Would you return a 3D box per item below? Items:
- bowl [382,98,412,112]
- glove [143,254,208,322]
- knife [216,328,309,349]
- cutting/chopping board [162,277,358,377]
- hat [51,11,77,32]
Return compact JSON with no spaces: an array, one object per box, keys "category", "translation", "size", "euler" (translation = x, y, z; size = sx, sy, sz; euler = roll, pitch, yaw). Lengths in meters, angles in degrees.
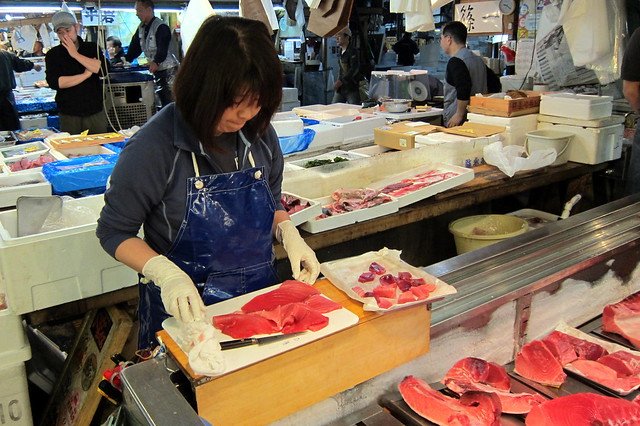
[{"category":"bowl","translation":[1.059,-1.420,5.856],"size":[0.385,0.176,0.282],"euler":[-5,16,-1]},{"category":"glove","translation":[-0.559,0.322,1.712],"size":[0.184,0.097,0.337],"euler":[-28,50,-26]},{"category":"knife","translation":[-0.200,0.449,1.527],"size":[0.447,0.061,0.038],"euler":[1,56,-17]},{"category":"cutting/chopping board","translation":[-0.236,0.395,1.613],"size":[0.676,0.143,0.368],"euler":[-12,18,-25]},{"category":"hat","translation":[-2.954,-2.176,4.976],"size":[0.248,0.196,0.232],"euler":[-13,18,-26]}]
